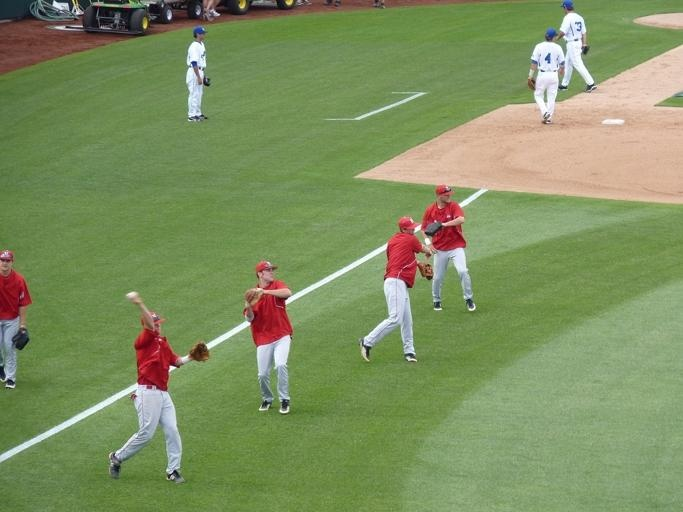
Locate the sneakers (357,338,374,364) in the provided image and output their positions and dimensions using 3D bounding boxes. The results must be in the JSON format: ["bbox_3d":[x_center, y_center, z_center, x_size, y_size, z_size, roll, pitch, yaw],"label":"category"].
[{"bbox_3d":[0.425,1.788,21.659,0.287,0.435,0.179,-8,4,2],"label":"sneakers"}]

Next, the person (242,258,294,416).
[{"bbox_3d":[-1.239,1.474,20.137,0.712,2.623,0.850,7,27,37],"label":"person"}]

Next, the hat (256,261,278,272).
[{"bbox_3d":[-1.337,0.196,20.058,0.379,0.154,0.238,-5,2,7],"label":"hat"}]

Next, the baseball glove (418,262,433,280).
[{"bbox_3d":[1.495,0.301,21.706,0.271,0.312,0.130,-27,-5,-42],"label":"baseball glove"}]

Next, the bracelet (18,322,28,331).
[{"bbox_3d":[-5.943,1.326,21.490,0.114,0.040,0.132,6,33,1],"label":"bracelet"}]

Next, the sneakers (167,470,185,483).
[{"bbox_3d":[-2.718,3.614,18.838,0.161,0.118,0.342,9,-1,-34],"label":"sneakers"}]

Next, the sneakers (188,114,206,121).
[{"bbox_3d":[-4.339,-4.102,34.592,0.548,0.207,0.167,-2,45,-1],"label":"sneakers"}]

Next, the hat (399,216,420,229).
[{"bbox_3d":[1.178,-0.569,21.679,0.426,0.221,0.262,-14,14,14],"label":"hat"}]

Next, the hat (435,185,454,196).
[{"bbox_3d":[1.991,-1.286,22.856,0.250,0.191,0.321,-10,18,-5],"label":"hat"}]

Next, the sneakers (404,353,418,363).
[{"bbox_3d":[1.281,1.913,21.573,0.110,0.109,0.276,-1,0,-24],"label":"sneakers"}]

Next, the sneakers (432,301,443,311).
[{"bbox_3d":[1.923,1.027,23.402,0.227,0.190,0.544,0,-1,-1],"label":"sneakers"}]

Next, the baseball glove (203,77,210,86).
[{"bbox_3d":[-3.911,-5.067,33.552,0.254,0.186,0.594,-24,7,-6],"label":"baseball glove"}]

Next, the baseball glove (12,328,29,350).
[{"bbox_3d":[-5.956,1.537,21.386,0.283,0.330,0.417,-9,19,-1],"label":"baseball glove"}]

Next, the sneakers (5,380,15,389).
[{"bbox_3d":[-6.161,2.391,21.434,0.172,0.123,0.339,1,-6,-14],"label":"sneakers"}]

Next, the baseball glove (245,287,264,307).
[{"bbox_3d":[-1.495,0.709,19.764,0.244,0.330,0.396,1,21,26],"label":"baseball glove"}]

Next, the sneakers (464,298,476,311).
[{"bbox_3d":[2.565,1.000,23.128,0.132,0.127,0.310,-17,51,0],"label":"sneakers"}]

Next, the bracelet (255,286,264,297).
[{"bbox_3d":[-1.420,0.624,19.771,0.173,0.057,0.203,1,18,-2],"label":"bracelet"}]

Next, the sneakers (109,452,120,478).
[{"bbox_3d":[-3.743,3.440,19.024,0.227,0.418,0.167,-2,7,15],"label":"sneakers"}]
